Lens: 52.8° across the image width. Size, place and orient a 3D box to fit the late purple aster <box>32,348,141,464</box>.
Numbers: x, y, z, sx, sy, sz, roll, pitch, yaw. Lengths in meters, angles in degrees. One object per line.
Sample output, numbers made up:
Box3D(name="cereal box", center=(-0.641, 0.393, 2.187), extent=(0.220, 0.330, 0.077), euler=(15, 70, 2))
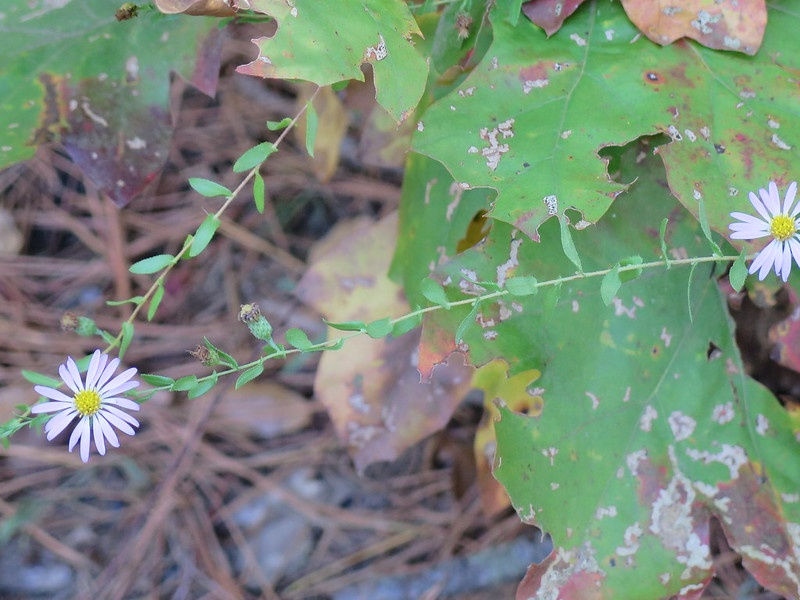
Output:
Box3D(name="late purple aster", center=(-0.504, 0.156, 1.284), extent=(0.148, 0.147, 0.061), euler=(-1, 97, -46))
